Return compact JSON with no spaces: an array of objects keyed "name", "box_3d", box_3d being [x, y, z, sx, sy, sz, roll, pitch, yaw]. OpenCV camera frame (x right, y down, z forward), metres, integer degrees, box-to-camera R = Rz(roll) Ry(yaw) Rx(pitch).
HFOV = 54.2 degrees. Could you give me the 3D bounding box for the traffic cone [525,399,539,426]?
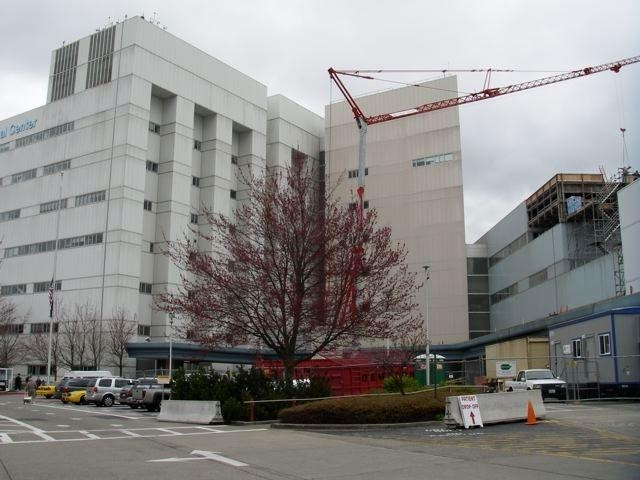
[{"name":"traffic cone","box_3d":[8.273,6.751,24.486,0.662,0.952,0.613,-11,-14,33]}]
